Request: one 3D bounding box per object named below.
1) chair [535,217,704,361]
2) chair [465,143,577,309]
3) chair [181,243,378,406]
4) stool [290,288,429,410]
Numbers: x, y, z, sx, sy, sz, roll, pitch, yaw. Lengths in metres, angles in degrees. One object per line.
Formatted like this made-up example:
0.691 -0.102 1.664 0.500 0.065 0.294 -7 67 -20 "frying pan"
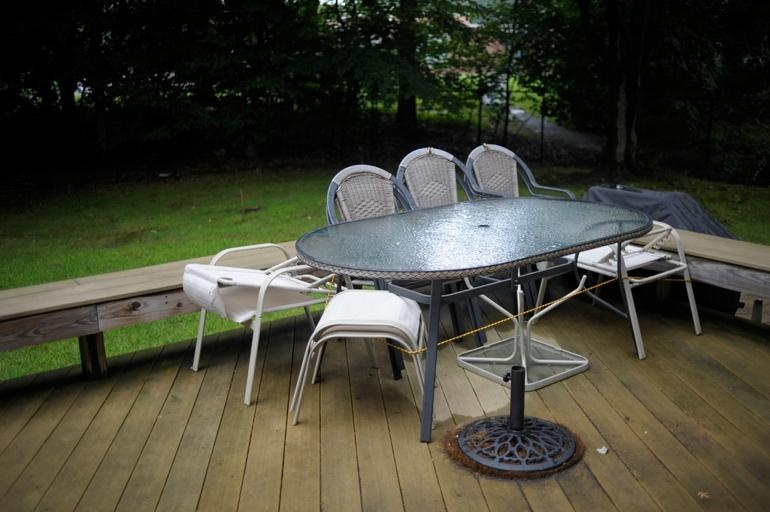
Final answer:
1.753 0.071 3.746 0.609 0.533 0.787 14 -14 -16 "chair"
1.208 -0.242 4.535 0.916 1.344 1.026 -18 31 -37 "chair"
-0.596 0.261 3.511 1.360 0.872 0.873 -12 22 -32 "chair"
-0.086 0.503 2.982 0.747 0.489 0.534 0 22 0 "stool"
